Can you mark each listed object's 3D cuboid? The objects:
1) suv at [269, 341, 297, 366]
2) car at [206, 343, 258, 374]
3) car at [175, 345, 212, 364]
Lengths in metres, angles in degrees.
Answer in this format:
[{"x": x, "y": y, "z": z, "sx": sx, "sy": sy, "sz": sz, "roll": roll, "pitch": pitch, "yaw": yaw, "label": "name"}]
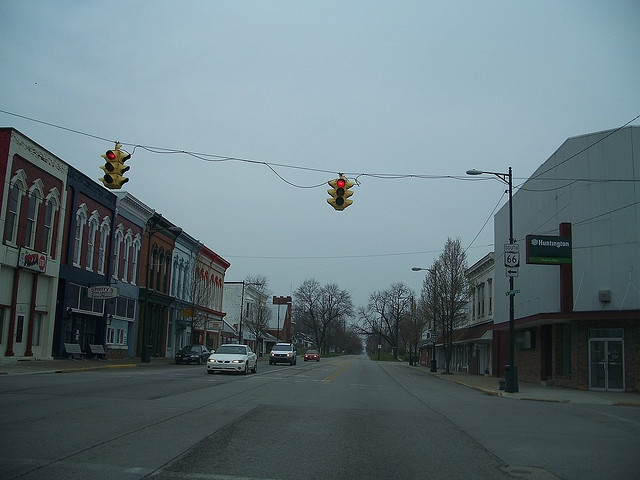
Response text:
[{"x": -3.163, "y": 9.949, "z": 52.468, "sx": 1.880, "sy": 1.812, "sz": 2.729, "roll": 1, "pitch": -7, "yaw": 7, "label": "suv"}, {"x": -4.840, "y": 6.690, "z": 33.780, "sx": 2.075, "sy": 1.576, "sz": 3.581, "roll": 1, "pitch": -8, "yaw": 11, "label": "car"}, {"x": -9.753, "y": 8.709, "z": 45.783, "sx": 2.082, "sy": 1.413, "sz": 2.900, "roll": 3, "pitch": -7, "yaw": -3, "label": "car"}]
